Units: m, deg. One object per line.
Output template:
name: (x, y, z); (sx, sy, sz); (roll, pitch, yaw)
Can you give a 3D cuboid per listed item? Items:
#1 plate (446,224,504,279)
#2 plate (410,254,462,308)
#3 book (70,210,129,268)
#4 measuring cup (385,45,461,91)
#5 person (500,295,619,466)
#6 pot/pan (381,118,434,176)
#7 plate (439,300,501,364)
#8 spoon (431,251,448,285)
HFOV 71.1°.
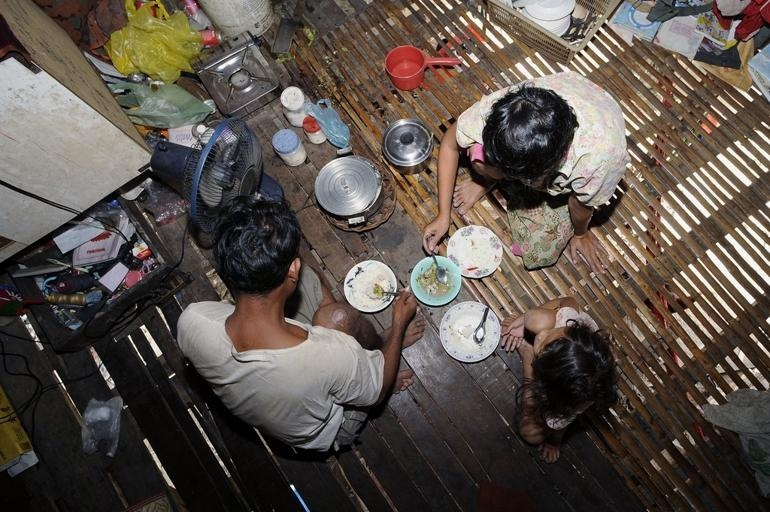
plate: (0.807, -0.048, 4.858); (0.420, 0.121, 0.505); (-17, 82, 1)
plate: (0.427, 0.212, 4.897); (0.461, 0.427, 0.498); (-13, 40, -22)
book: (-2.683, -0.155, 5.096); (0.257, 0.428, 0.479); (1, 80, -1)
measuring cup: (0.362, -1.830, 5.167); (0.679, 0.247, 0.445); (10, 82, 4)
person: (1.377, 0.977, 4.424); (0.549, 1.127, 1.002); (-5, 53, -14)
pot/pan: (0.200, -1.027, 4.940); (0.399, 0.277, 0.494); (1, 86, 7)
plate: (0.756, 0.654, 4.713); (0.530, 0.143, 0.479); (-45, 84, -1)
spoon: (0.489, 0.125, 4.789); (0.081, 0.046, 0.350); (-12, 88, 5)
